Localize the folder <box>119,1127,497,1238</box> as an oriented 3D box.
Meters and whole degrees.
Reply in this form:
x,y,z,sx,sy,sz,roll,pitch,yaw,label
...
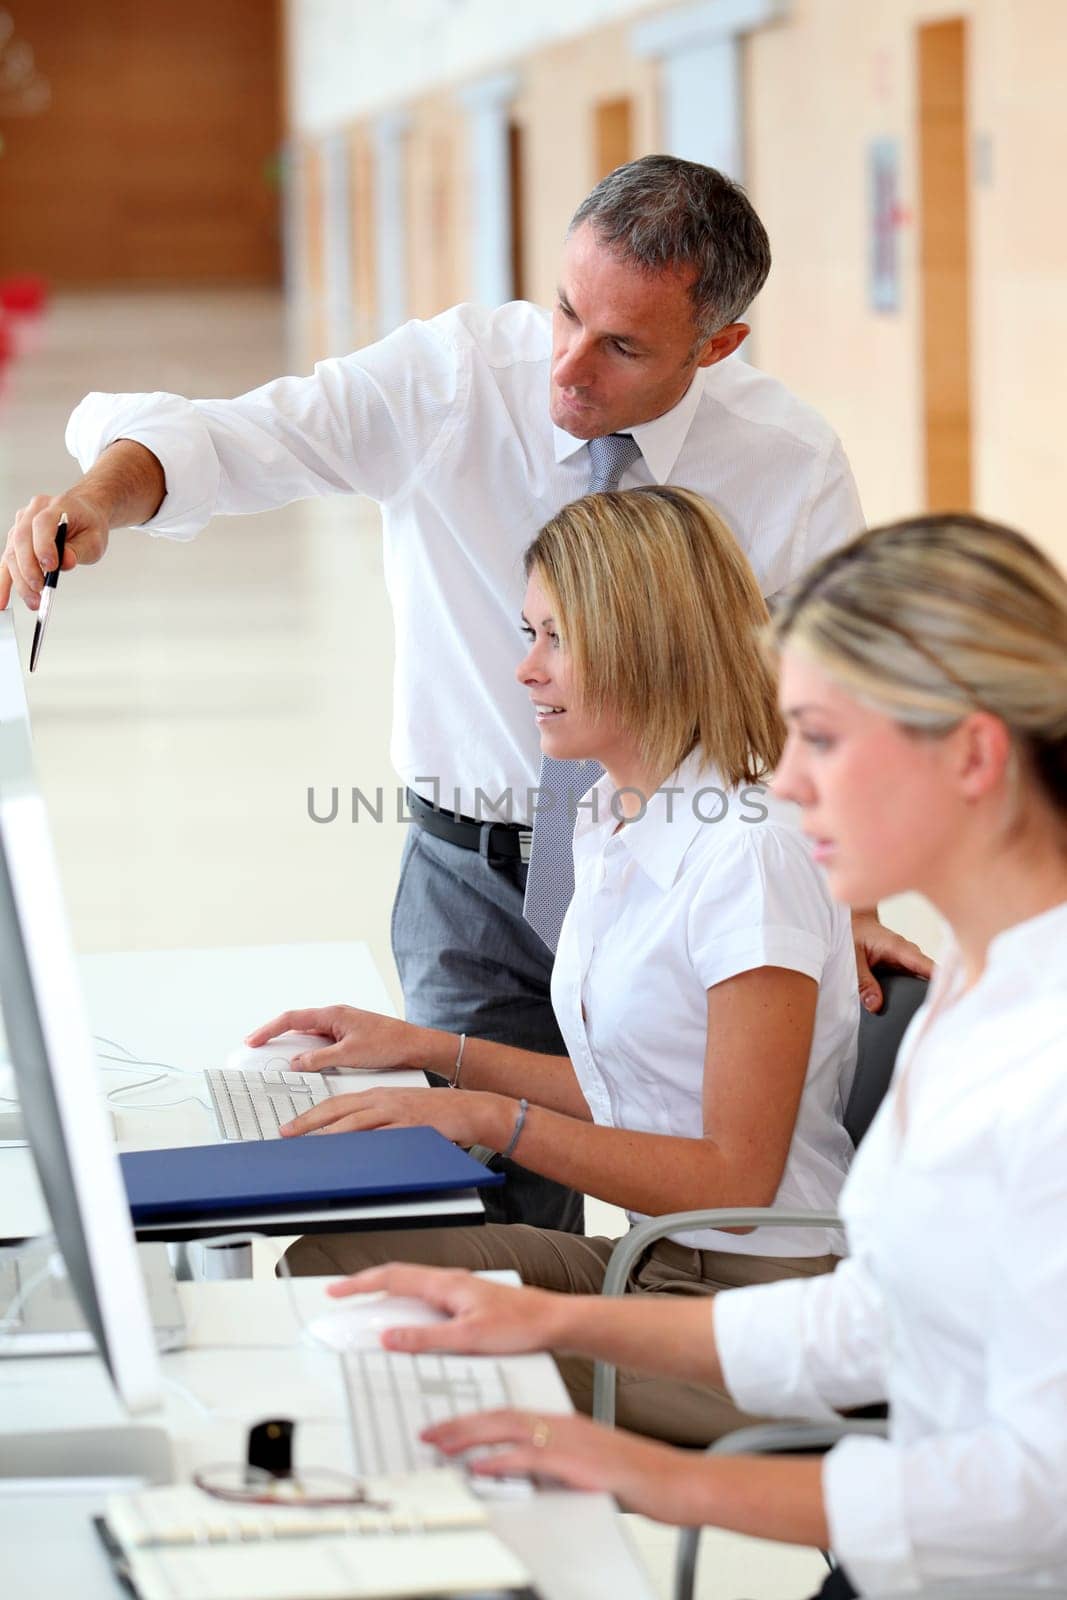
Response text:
x,y,z,sx,sy,sz,roll,pitch,yaw,label
-0.139,0.221,0.945,0.123,0.017,0.108,-3,8,-7,folder

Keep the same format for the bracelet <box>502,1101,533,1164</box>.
x,y,z,sx,sy,sz,roll,pitch,yaw,label
-0.012,0.228,1.118,0.010,0.031,0.034,15,4,13,bracelet

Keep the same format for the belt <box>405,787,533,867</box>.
x,y,z,sx,sy,sz,roll,pitch,yaw,label
-0.073,0.027,1.690,0.100,0.023,0.070,14,5,8,belt

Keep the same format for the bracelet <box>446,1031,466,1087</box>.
x,y,z,sx,sy,sz,roll,pitch,yaw,label
-0.064,0.217,1.352,0.010,0.034,0.028,4,-10,4,bracelet
